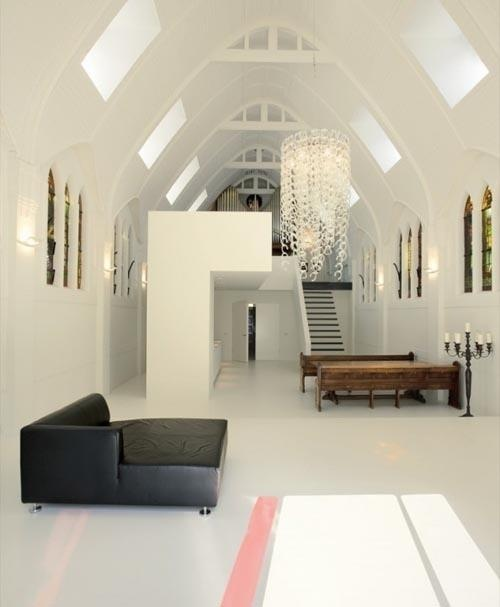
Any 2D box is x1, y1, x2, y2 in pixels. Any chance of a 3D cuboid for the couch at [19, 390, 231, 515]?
[{"bbox_3d":[-0.901,1.131,3.425,1.368,0.671,0.994,-2,-1,0],"label":"couch"}]
